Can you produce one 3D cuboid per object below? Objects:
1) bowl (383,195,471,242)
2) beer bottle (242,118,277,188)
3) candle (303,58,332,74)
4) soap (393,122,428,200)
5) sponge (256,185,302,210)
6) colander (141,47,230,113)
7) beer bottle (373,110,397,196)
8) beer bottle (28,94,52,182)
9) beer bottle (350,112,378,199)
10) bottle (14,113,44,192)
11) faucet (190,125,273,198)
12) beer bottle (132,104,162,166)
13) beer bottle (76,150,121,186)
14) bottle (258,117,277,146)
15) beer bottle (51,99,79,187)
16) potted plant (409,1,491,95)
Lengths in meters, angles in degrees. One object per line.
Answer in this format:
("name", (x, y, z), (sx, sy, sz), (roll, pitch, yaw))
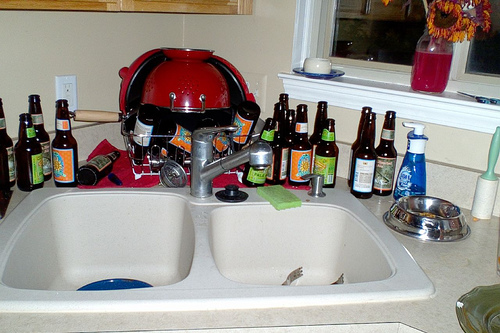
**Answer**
("bowl", (0.563, 0.164, 1.231), (0.248, 0.094, 0.194), (-7, 17, -21))
("beer bottle", (0.041, -0.050, 1.395), (0.087, 0.259, 0.086), (14, 23, -6))
("candle", (0.266, -0.391, 1.509), (0.073, 0.048, 0.072), (1, 14, -2))
("soap", (0.568, -0.012, 1.347), (0.103, 0.281, 0.063), (2, 17, 7))
("sponge", (0.091, 0.095, 1.257), (0.078, 0.027, 0.104), (-8, 24, -28))
("colander", (-0.243, -0.321, 1.450), (0.334, 0.229, 0.143), (-3, 17, -11))
("beer bottle", (0.494, -0.050, 1.408), (0.083, 0.303, 0.088), (3, 12, -1))
("beer bottle", (-0.752, -0.096, 1.384), (0.092, 0.298, 0.091), (-3, 10, 1))
("beer bottle", (0.418, -0.042, 1.394), (0.079, 0.291, 0.080), (3, 8, 0))
("bottle", (-0.756, -0.048, 1.316), (0.094, 0.264, 0.059), (-9, 19, -27))
("faucet", (-0.067, -0.027, 1.204), (0.233, 0.207, 0.291), (1, 19, 4))
("beer bottle", (-0.383, -0.113, 1.432), (0.119, 0.229, 0.091), (-1, 17, -1))
("beer bottle", (-0.556, 0.001, 1.461), (0.074, 0.083, 0.232), (3, 16, 11))
("bottle", (0.064, -0.119, 1.357), (0.063, 0.104, 0.110), (0, 16, 2))
("beer bottle", (-0.651, -0.077, 1.370), (0.093, 0.301, 0.092), (2, 13, 0))
("potted plant", (0.664, -0.409, 1.360), (0.166, 0.304, 0.281), (-8, 18, -23))
